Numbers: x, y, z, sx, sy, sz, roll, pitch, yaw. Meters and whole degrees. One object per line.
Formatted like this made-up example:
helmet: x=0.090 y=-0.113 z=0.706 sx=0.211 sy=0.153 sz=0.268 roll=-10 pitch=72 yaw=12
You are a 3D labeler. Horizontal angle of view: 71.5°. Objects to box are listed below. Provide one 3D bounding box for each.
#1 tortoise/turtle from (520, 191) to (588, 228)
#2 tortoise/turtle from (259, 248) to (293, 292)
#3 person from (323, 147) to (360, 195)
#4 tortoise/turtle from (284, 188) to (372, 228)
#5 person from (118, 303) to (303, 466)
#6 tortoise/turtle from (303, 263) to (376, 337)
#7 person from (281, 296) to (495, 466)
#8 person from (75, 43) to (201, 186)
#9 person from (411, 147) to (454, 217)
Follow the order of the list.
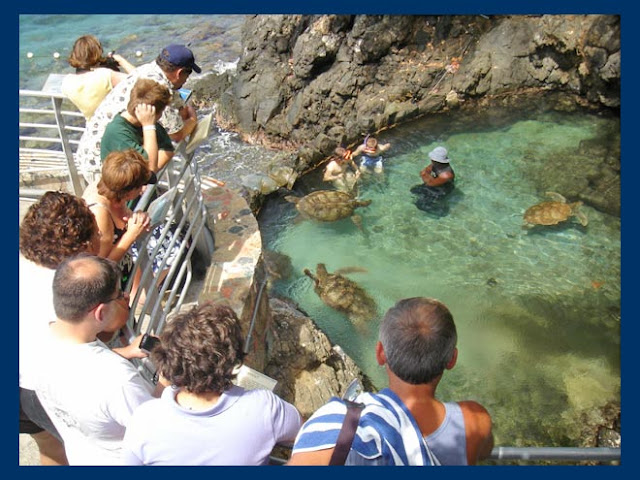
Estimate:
tortoise/turtle: x=4.530 y=-0.548 z=8.522 sx=1.252 sy=0.612 sz=1.214 roll=-5 pitch=21 yaw=-22
tortoise/turtle: x=-0.765 y=0.514 z=8.299 sx=0.510 sy=0.431 sz=0.982 roll=-3 pitch=16 yaw=-12
person: x=0.498 y=-1.590 z=10.095 sx=0.801 sy=0.975 sz=0.678 roll=0 pitch=16 yaw=2
tortoise/turtle: x=0.120 y=-0.675 z=9.330 sx=2.028 sy=0.653 sz=1.755 roll=-5 pitch=23 yaw=-10
person: x=-0.631 y=1.016 z=3.202 sx=0.933 sy=1.125 sz=1.206 roll=2 pitch=21 yaw=-8
tortoise/turtle: x=0.367 y=0.940 z=7.430 sx=0.823 sy=0.381 sz=1.151 roll=-41 pitch=69 yaw=-12
person: x=0.532 y=1.033 z=3.018 sx=1.325 sy=1.103 sz=0.640 roll=-8 pitch=17 yaw=-26
person: x=-1.882 y=-1.392 z=4.547 sx=1.032 sy=1.679 sz=1.037 roll=-5 pitch=18 yaw=-40
person: x=2.390 y=-1.282 z=9.296 sx=0.791 sy=1.406 sz=0.743 roll=24 pitch=53 yaw=32
